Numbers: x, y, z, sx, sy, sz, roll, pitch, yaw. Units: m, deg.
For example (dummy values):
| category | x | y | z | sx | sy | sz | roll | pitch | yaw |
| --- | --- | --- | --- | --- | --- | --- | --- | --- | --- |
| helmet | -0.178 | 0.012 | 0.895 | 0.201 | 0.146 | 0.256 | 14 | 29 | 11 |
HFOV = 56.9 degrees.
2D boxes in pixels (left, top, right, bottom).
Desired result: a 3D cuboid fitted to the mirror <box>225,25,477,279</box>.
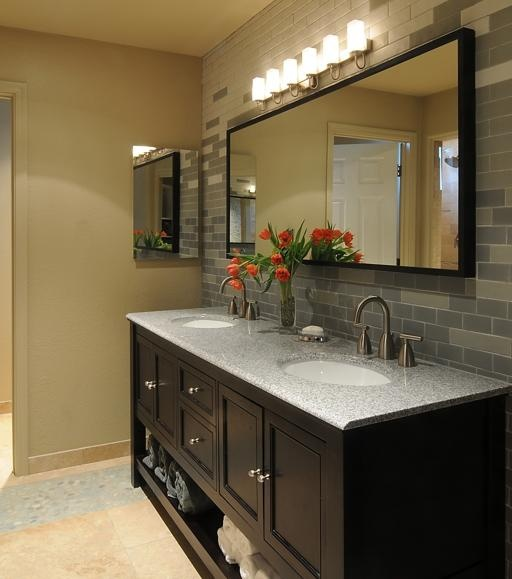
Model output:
| category | x | y | z | sx | sy | sz | roll | pitch | yaw |
| --- | --- | --- | --- | --- | --- | --- | --- | --- | --- |
| mirror | 0.363 | -0.528 | 1.827 | 0.032 | 0.769 | 1.362 | 2 | -1 | -30 |

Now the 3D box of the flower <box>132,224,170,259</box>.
| category | x | y | z | sx | sy | sz | roll | pitch | yaw |
| --- | --- | --- | --- | --- | --- | --- | --- | --- | --- |
| flower | -0.687 | -0.297 | 3.127 | 0.245 | 0.180 | 0.036 | -1 | 3 | -29 |

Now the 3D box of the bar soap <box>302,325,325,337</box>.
| category | x | y | z | sx | sy | sz | roll | pitch | yaw |
| --- | --- | --- | --- | --- | --- | --- | --- | --- | --- |
| bar soap | 0.222 | 0.164 | 1.856 | 0.052 | 0.032 | 0.049 | -1 | -6 | 22 |

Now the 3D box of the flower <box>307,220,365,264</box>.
| category | x | y | z | sx | sy | sz | roll | pitch | yaw |
| --- | --- | --- | --- | --- | --- | --- | --- | --- | --- |
| flower | 0.325 | -0.182 | 1.957 | 0.166 | 0.124 | 0.147 | 36 | 29 | 33 |

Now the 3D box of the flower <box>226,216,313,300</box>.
| category | x | y | z | sx | sy | sz | roll | pitch | yaw |
| --- | --- | --- | --- | --- | --- | --- | --- | --- | --- |
| flower | 0.109 | -0.104 | 2.167 | 0.348 | 0.294 | 0.306 | -19 | -10 | -2 |
